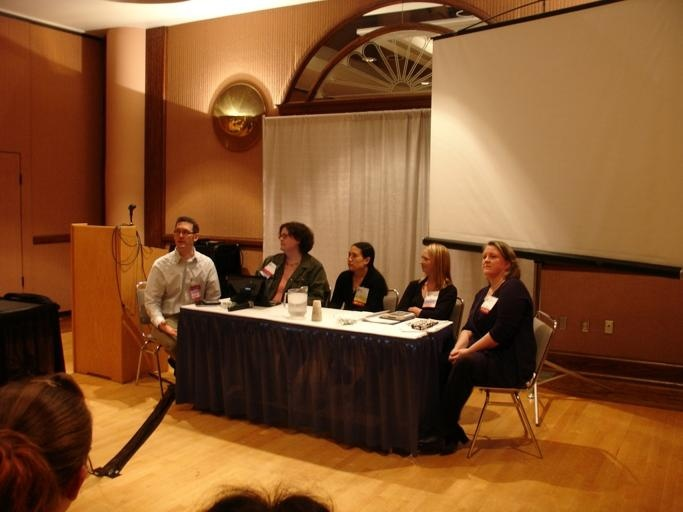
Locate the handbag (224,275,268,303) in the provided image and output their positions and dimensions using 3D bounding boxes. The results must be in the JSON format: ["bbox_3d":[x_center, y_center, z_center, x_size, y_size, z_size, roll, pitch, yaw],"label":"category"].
[{"bbox_3d":[-0.834,0.270,4.662,0.367,0.314,0.195,0,1,7],"label":"handbag"}]

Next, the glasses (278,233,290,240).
[{"bbox_3d":[-0.514,-0.176,4.828,0.041,0.082,0.123,-5,10,-35],"label":"glasses"}]

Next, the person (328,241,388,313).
[{"bbox_3d":[0.159,0.182,5.171,0.518,0.919,0.573,4,-3,-39],"label":"person"}]

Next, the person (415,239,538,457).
[{"bbox_3d":[1.102,0.668,4.077,0.687,1.507,0.693,4,8,24],"label":"person"}]

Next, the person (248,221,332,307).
[{"bbox_3d":[-0.469,0.112,4.923,0.740,0.858,0.485,1,-7,24],"label":"person"}]

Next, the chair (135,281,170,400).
[{"bbox_3d":[-1.707,0.749,5.241,0.342,0.858,0.385,10,15,39],"label":"chair"}]

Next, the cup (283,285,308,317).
[{"bbox_3d":[-0.343,0.360,4.264,0.135,0.232,0.205,2,-5,-33],"label":"cup"}]

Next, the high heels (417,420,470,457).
[{"bbox_3d":[0.756,1.322,4.038,0.177,0.197,0.400,-4,-7,44],"label":"high heels"}]

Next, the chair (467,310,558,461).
[{"bbox_3d":[1.337,1.036,4.414,0.479,0.813,0.457,-6,3,30],"label":"chair"}]
